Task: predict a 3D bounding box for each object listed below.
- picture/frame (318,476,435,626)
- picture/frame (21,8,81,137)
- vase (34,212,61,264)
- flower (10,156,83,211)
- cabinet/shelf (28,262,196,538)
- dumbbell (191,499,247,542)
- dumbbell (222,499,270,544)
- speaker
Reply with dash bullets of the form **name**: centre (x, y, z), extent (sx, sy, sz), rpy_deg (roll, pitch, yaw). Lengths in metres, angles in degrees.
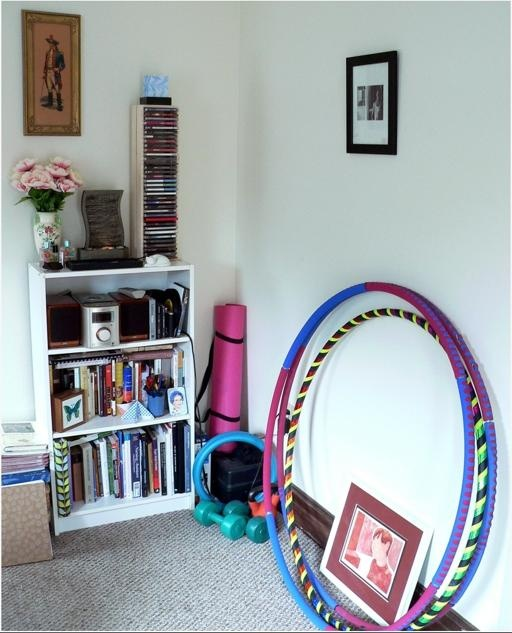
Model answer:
- **picture/frame**: centre (0.408, 0.901, 1.897), extent (0.184, 0.556, 0.508), rpy_deg (-2, 9, -24)
- **picture/frame**: centre (-0.823, -1.162, 2.384), extent (0.254, 0.563, 0.018), rpy_deg (-21, 51, -37)
- **vase**: centre (-0.848, -0.381, 2.396), extent (0.109, 0.238, 0.165), rpy_deg (-2, 7, -23)
- **flower**: centre (-0.859, -0.643, 2.377), extent (0.234, 0.297, 0.197), rpy_deg (-13, 26, -40)
- **cabinet/shelf**: centre (-0.590, 0.375, 2.598), extent (0.753, 1.306, 0.411), rpy_deg (-3, 7, -30)
- **dumbbell**: centre (-0.123, 0.972, 2.421), extent (0.113, 0.146, 0.263), rpy_deg (-7, 7, -32)
- **dumbbell**: centre (-0.020, 0.959, 2.380), extent (0.134, 0.171, 0.160), rpy_deg (-8, 21, -33)
- **speaker**: centre (-0.654, 0.008, 2.474), extent (0.429, 0.237, 0.258), rpy_deg (-3, 7, -26)
